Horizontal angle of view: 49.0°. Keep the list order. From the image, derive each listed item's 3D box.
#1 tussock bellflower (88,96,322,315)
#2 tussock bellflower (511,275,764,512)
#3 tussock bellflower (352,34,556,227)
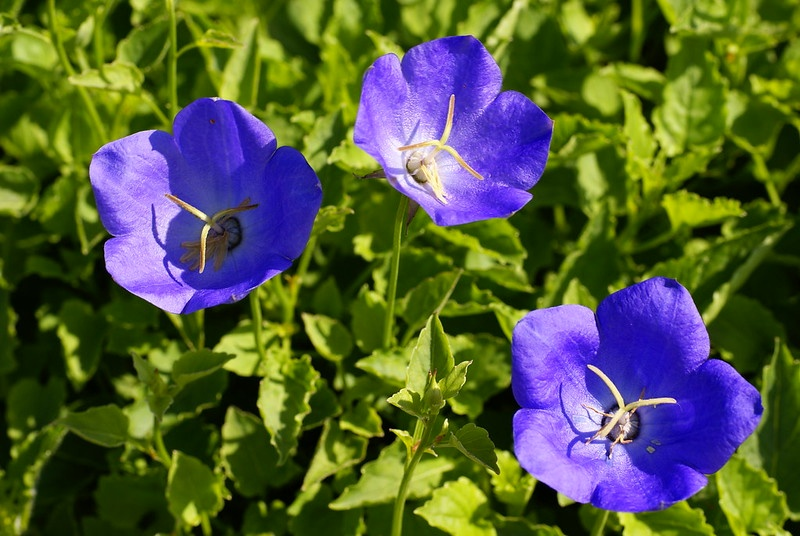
[{"bbox_3d":[-0.564,-0.178,2.690,0.618,0.277,0.665,-30,79,-1],"label":"tussock bellflower"},{"bbox_3d":[0.634,0.441,2.460,0.642,0.277,0.652,-14,55,6],"label":"tussock bellflower"},{"bbox_3d":[0.080,-0.343,2.676,0.573,0.274,0.578,-23,78,-40],"label":"tussock bellflower"}]
